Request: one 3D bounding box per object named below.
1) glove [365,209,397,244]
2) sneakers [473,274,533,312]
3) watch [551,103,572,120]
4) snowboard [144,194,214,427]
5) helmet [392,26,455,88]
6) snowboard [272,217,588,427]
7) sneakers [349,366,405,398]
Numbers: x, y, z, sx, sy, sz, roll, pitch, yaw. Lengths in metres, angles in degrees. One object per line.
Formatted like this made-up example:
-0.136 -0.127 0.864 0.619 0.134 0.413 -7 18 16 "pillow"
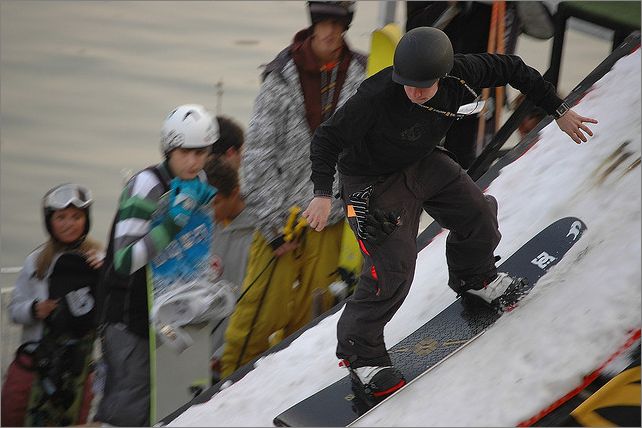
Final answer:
0.328 0.066 3.572 0.169 0.163 0.055 31 11 -2 "glove"
1.038 0.467 3.802 0.406 0.133 0.188 -9 -31 38 "sneakers"
1.340 -0.567 3.701 0.094 0.027 0.072 -43 -20 18 "watch"
-0.895 0.675 4.052 0.197 1.144 0.277 -2 -7 -8 "snowboard"
0.514 -0.796 3.356 0.255 0.328 0.178 17 -41 19 "helmet"
0.667 0.624 3.752 1.682 0.220 0.249 -35 33 -13 "snowboard"
0.325 0.899 3.633 0.368 0.129 0.155 4 -7 19 "sneakers"
